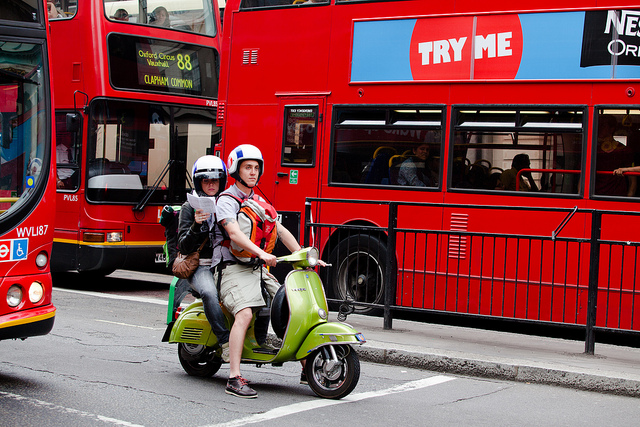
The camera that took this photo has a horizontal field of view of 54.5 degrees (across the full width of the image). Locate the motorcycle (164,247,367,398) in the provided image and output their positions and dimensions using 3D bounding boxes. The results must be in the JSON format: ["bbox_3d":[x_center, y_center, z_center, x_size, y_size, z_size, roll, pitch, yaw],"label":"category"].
[{"bbox_3d":[-0.669,1.026,6.612,2.135,1.578,1.220,0,-13,20],"label":"motorcycle"}]

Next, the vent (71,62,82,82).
[{"bbox_3d":[-4.977,-2.892,12.728,0.304,0.392,0.062,2,1,36],"label":"vent"}]

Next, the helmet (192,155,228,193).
[{"bbox_3d":[-1.196,-0.421,6.720,0.433,0.435,0.451,5,10,25],"label":"helmet"}]

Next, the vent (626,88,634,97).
[{"bbox_3d":[4.481,-1.755,8.972,0.109,0.127,0.042,8,1,22],"label":"vent"}]

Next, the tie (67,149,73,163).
[{"bbox_3d":[-5.218,-1.212,12.966,0.192,0.264,0.048,2,1,45],"label":"tie"}]

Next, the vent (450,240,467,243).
[{"bbox_3d":[2.056,0.411,9.317,0.174,0.029,0.044,5,5,0],"label":"vent"}]

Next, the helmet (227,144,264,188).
[{"bbox_3d":[-0.736,-0.495,6.475,0.324,0.506,0.421,3,-7,-29],"label":"helmet"}]
